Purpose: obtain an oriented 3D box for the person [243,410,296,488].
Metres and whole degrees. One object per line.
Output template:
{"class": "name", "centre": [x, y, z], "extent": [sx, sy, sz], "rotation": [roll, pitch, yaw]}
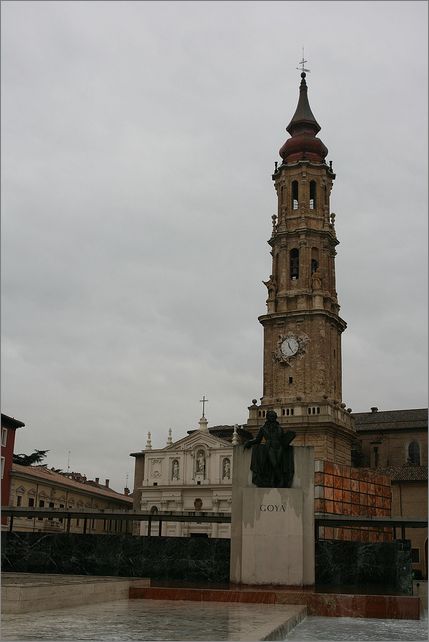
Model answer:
{"class": "person", "centre": [1.724, 3.829, 21.913], "extent": [1.388, 2.430, 0.935], "rotation": [0, -18, 13]}
